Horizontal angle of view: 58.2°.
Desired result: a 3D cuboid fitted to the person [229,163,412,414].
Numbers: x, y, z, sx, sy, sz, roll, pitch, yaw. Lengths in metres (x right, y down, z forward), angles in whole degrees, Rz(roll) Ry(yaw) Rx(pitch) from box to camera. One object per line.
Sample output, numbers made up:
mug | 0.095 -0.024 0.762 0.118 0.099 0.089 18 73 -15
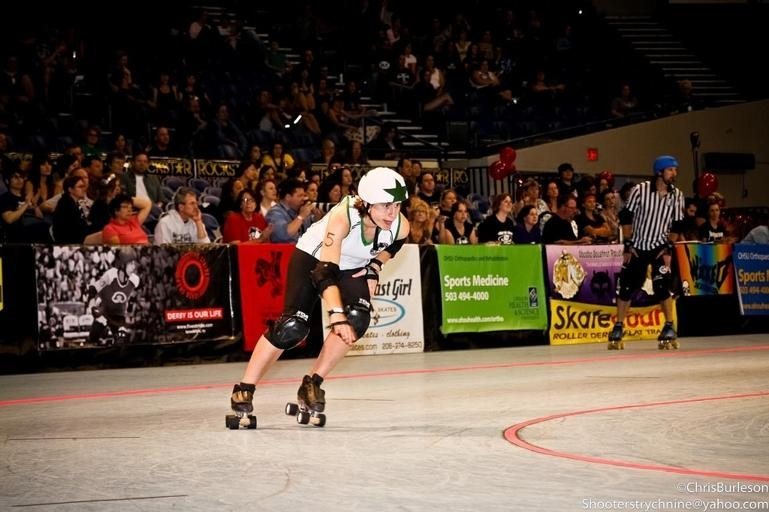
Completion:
person | -0.481 0.296 6.002 1.417 2.057 0.649 -2 -2 4

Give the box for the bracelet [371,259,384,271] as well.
bracelet | -0.060 0.067 6.238 0.090 0.083 0.112 32 -9 30

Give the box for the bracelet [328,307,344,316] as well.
bracelet | -0.401 0.461 5.803 0.133 0.068 0.100 -2 -3 -3

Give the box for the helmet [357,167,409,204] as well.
helmet | -0.004 -0.565 5.809 0.337 0.321 0.302 -5 -1 38

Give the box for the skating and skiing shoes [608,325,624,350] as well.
skating and skiing shoes | 3.731 1.292 11.174 0.241 0.321 0.162 -3 -2 15

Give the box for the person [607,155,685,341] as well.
person | 4.294 -0.048 11.237 1.020 3.130 0.902 3 -2 33
